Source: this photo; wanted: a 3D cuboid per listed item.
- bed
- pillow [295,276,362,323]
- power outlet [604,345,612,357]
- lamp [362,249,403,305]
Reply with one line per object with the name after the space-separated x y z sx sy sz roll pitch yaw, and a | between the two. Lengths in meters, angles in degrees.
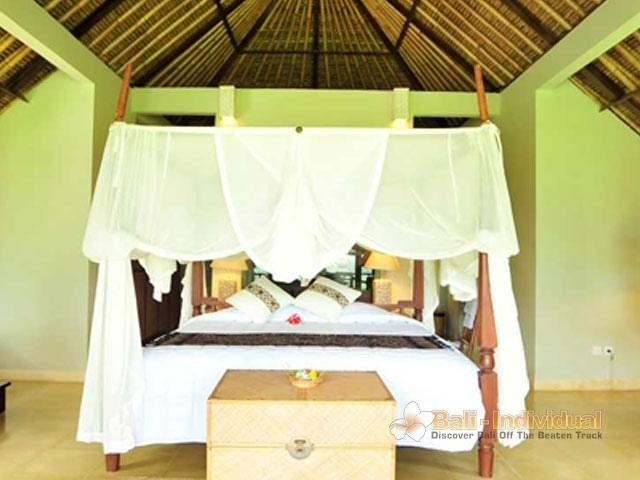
-0.102 0.666 5.321 3.650 3.310 2.741 0 0 1 | bed
0.058 0.613 5.609 0.408 0.144 0.471 16 28 14 | pillow
3.016 1.168 5.616 0.095 0.110 0.022 -1 8 -12 | power outlet
0.745 0.431 6.494 0.565 1.021 0.593 0 -2 11 | lamp
